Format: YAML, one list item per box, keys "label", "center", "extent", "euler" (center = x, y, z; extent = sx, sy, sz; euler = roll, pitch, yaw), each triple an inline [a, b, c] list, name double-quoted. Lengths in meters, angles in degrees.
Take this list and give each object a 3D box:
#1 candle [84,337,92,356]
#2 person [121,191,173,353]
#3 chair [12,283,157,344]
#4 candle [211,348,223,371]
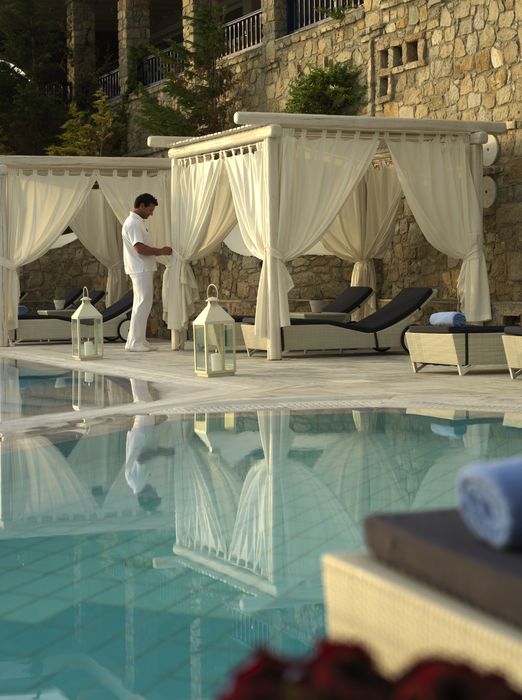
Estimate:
- label: "candle"
  center: [-2.274, -0.031, 9.220]
  extent: [0.127, 0.199, 0.109]
  euler: [-2, 3, -16]
- label: "person"
  center: [-1.586, -1.040, 9.572]
  extent: [0.563, 2.199, 1.055]
  euler: [-1, 3, -11]
- label: "chair"
  center: [-3.357, -0.599, 12.557]
  extent: [1.736, 0.795, 1.123]
  euler: [0, 2, -15]
- label: "candle"
  center: [-0.447, 0.111, 7.043]
  extent: [0.163, 0.304, 0.169]
  euler: [0, 3, -3]
